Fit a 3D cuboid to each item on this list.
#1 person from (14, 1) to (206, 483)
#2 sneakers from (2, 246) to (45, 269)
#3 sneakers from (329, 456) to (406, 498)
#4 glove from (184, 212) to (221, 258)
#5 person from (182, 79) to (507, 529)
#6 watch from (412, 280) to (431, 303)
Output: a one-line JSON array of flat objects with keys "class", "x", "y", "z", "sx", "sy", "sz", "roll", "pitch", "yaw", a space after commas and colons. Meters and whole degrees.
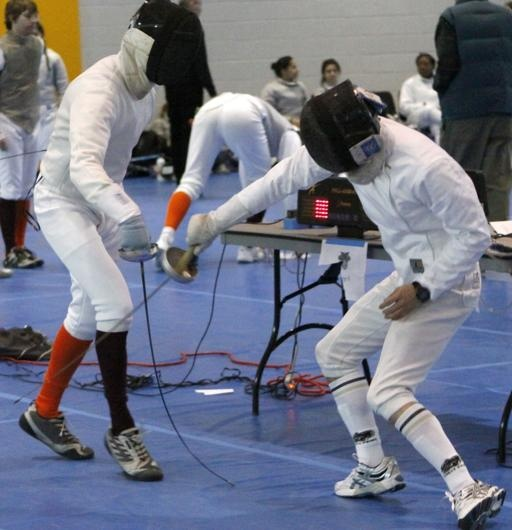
[{"class": "person", "x": -0.524, "y": -0.093, "z": 2.645, "sx": 0.582, "sy": 1.560, "sz": 0.502, "roll": 4, "pitch": 13, "yaw": 17}, {"class": "sneakers", "x": -1.828, "y": -0.040, "z": 6.228, "sx": 0.270, "sy": 0.106, "sz": 0.154, "roll": -1, "pitch": 3, "yaw": 17}, {"class": "sneakers", "x": 0.352, "y": 0.670, "z": 2.498, "sx": 0.280, "sy": 0.119, "sz": 0.089, "roll": -10, "pitch": -4, "yaw": 11}, {"class": "glove", "x": -0.188, "y": -0.105, "z": 2.693, "sx": 0.111, "sy": 0.139, "sz": 0.061, "roll": 35, "pitch": -1, "yaw": -1}, {"class": "person", "x": 0.475, "y": 0.109, "z": 2.340, "sx": 0.632, "sy": 1.270, "sz": 0.386, "roll": 9, "pitch": 15, "yaw": 37}, {"class": "watch", "x": 0.480, "y": 0.081, "z": 2.299, "sx": 0.033, "sy": 0.045, "sz": 0.059, "roll": -20, "pitch": 47, "yaw": -10}]
